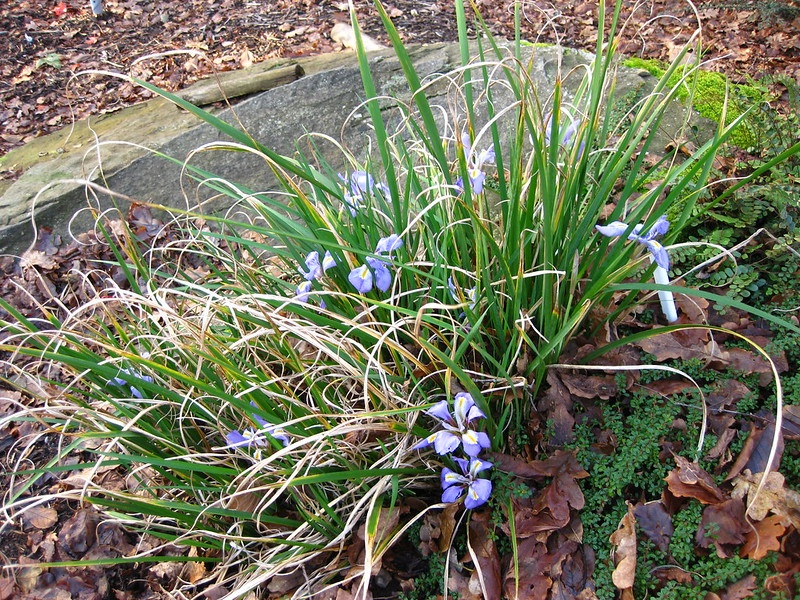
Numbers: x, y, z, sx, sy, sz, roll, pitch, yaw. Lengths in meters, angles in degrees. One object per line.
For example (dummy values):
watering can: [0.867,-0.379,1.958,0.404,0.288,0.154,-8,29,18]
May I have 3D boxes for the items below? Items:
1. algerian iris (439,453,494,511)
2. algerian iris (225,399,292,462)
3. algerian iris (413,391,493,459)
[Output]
algerian iris: [0.274,0.764,2.380,0.214,0.274,0.231,-2,50,10]
algerian iris: [-0.601,0.580,2.419,0.236,0.091,0.234,-41,43,-6]
algerian iris: [0.231,0.502,2.335,0.293,0.095,0.275,0,58,34]
